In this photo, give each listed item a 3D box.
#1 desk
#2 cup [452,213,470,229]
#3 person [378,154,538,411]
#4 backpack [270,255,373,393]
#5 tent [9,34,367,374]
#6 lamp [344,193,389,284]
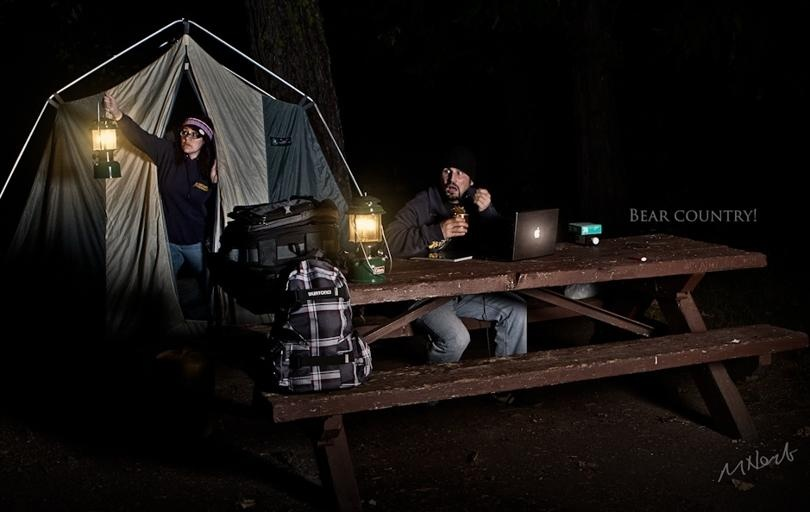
[{"bbox_3d":[0.660,0.976,4.762,5.058,1.690,1.720,-4,6,-18],"label":"desk"},{"bbox_3d":[0.486,-0.301,5.052,0.120,0.129,0.150,-3,2,8],"label":"cup"},{"bbox_3d":[0.422,0.091,5.457,1.196,2.342,1.256,-4,5,-45],"label":"person"},{"bbox_3d":[-0.636,0.482,4.112,0.711,0.922,0.248,-4,3,-14],"label":"backpack"},{"bbox_3d":[-3.052,-0.804,7.459,3.876,3.279,2.769,0,15,-22],"label":"tent"},{"bbox_3d":[-0.306,-0.109,4.567,0.366,0.644,0.391,1,2,29],"label":"lamp"}]
